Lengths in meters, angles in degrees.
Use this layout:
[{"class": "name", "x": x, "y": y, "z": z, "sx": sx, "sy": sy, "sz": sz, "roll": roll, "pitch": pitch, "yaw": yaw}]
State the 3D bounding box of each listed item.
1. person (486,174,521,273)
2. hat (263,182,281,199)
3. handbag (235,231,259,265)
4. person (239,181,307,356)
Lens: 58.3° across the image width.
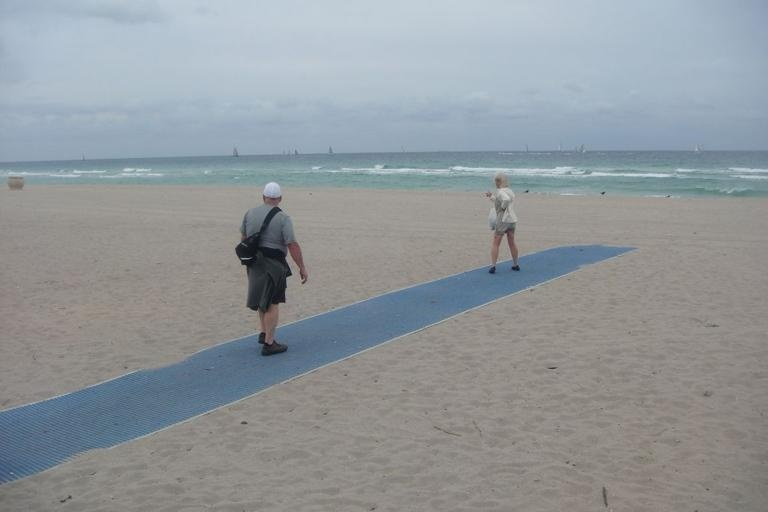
[{"class": "person", "x": 2.317, "y": -0.624, "z": 13.171, "sx": 0.665, "sy": 1.942, "sz": 1.178, "roll": 3, "pitch": 13, "yaw": 10}, {"class": "hat", "x": -1.575, "y": -0.945, "z": 9.616, "sx": 0.282, "sy": 0.158, "sz": 0.355, "roll": -1, "pitch": 23, "yaw": -5}, {"class": "handbag", "x": -1.874, "y": -0.084, "z": 9.430, "sx": 0.315, "sy": 0.456, "sz": 0.187, "roll": 1, "pitch": 13, "yaw": 5}, {"class": "person", "x": -1.608, "y": 0.199, "z": 9.624, "sx": 0.886, "sy": 2.421, "sz": 0.377, "roll": -2, "pitch": 14, "yaw": -10}]
